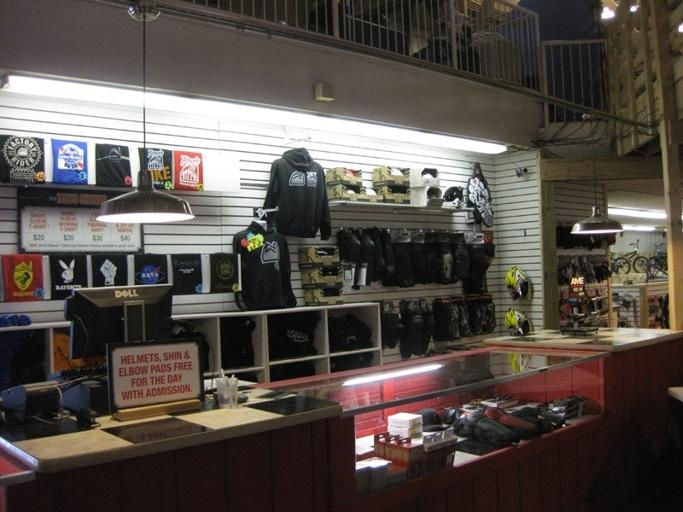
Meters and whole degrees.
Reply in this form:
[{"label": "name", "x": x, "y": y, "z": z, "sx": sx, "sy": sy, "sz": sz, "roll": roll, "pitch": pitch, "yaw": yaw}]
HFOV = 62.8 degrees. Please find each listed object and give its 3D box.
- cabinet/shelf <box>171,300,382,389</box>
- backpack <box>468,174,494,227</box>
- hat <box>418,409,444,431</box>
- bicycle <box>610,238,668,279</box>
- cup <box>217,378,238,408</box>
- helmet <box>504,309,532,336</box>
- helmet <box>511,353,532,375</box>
[{"label": "cabinet/shelf", "x": -0.639, "y": 1.185, "z": 6.237, "sx": 2.285, "sy": 1.178, "sz": 0.464, "roll": -3, "pitch": 0, "yaw": -28}, {"label": "backpack", "x": 2.175, "y": -0.851, "z": 8.728, "sx": 0.147, "sy": 0.687, "sz": 0.669, "roll": -11, "pitch": -2, "yaw": 33}, {"label": "hat", "x": 0.555, "y": 1.030, "z": 3.499, "sx": 0.110, "sy": 0.056, "sz": 0.152, "roll": -1, "pitch": 5, "yaw": 1}, {"label": "bicycle", "x": 8.230, "y": 0.114, "z": 15.521, "sx": 1.785, "sy": 1.191, "sz": 0.946, "roll": -3, "pitch": 5, "yaw": 6}, {"label": "cup", "x": -0.639, "y": 0.768, "z": 3.121, "sx": 0.157, "sy": 0.193, "sz": 0.134, "roll": 0, "pitch": -12, "yaw": -6}, {"label": "helmet", "x": 1.733, "y": 0.655, "z": 5.476, "sx": 0.207, "sy": 0.259, "sz": 0.264, "roll": 1, "pitch": 3, "yaw": 20}, {"label": "helmet", "x": 1.285, "y": 0.768, "z": 4.014, "sx": 0.099, "sy": 0.246, "sz": 0.119, "roll": 2, "pitch": -14, "yaw": 5}]
